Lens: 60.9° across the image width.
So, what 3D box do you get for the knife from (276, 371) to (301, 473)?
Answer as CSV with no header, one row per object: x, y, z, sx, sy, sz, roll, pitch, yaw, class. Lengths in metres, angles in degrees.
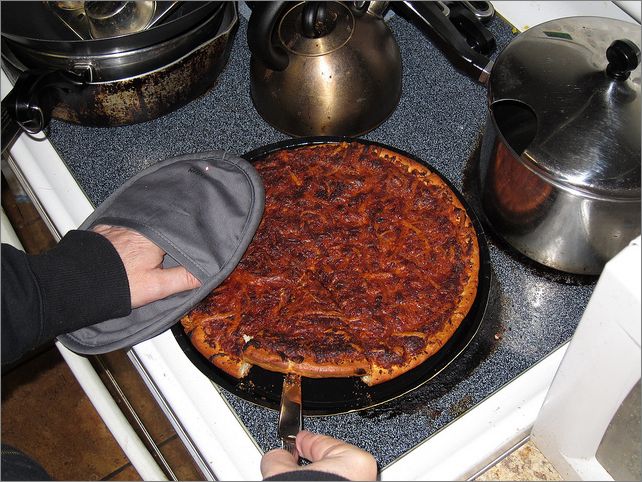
-0.043,0.258,0.826,0.044,0.108,0.042,28,46,28,knife
